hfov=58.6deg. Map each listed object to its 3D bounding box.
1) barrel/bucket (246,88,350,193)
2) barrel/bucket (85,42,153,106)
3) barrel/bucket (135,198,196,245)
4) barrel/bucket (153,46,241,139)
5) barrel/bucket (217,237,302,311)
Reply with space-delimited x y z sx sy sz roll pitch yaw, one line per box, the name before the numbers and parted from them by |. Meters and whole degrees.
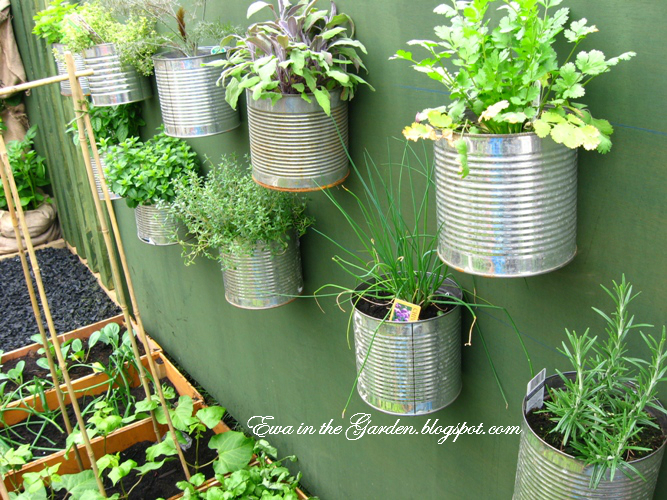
barrel/bucket | -0.098 -0.305 1.535 0.225 0.208 0.266 0 22 1
barrel/bucket | -0.812 -0.673 2.301 0.210 0.247 0.213 -4 28 2
barrel/bucket | -0.695 -0.098 2.367 0.188 0.222 0.211 1 10 0
barrel/bucket | -0.425 -0.513 2.005 0.240 0.293 0.270 18 36 29
barrel/bucket | -0.231 0.064 1.942 0.203 0.254 0.230 3 29 7
